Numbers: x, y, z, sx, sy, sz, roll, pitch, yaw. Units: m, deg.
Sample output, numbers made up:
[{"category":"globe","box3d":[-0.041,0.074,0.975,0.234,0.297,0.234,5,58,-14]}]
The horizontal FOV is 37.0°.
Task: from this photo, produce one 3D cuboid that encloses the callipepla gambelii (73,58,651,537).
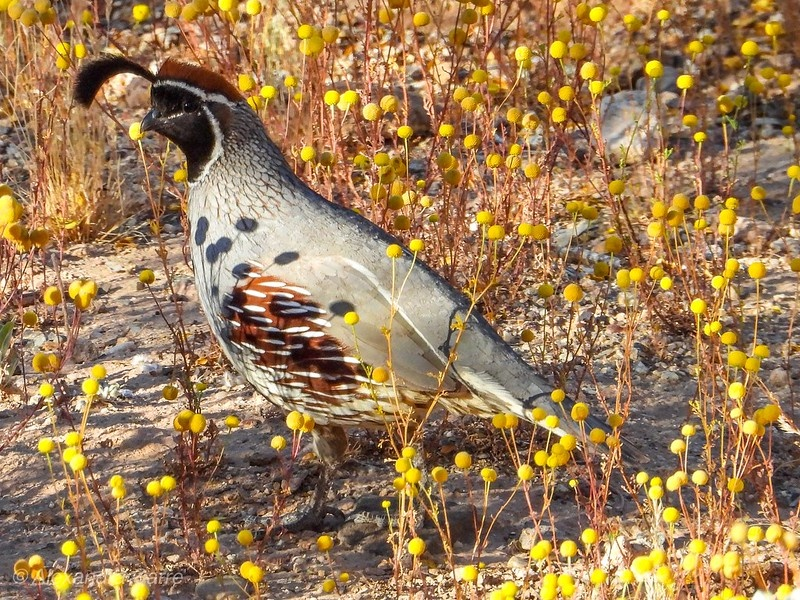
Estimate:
[{"category":"callipepla gambelii","box3d":[-0.379,-0.140,5.275,1.579,2.150,0.623,-12,1,18]}]
